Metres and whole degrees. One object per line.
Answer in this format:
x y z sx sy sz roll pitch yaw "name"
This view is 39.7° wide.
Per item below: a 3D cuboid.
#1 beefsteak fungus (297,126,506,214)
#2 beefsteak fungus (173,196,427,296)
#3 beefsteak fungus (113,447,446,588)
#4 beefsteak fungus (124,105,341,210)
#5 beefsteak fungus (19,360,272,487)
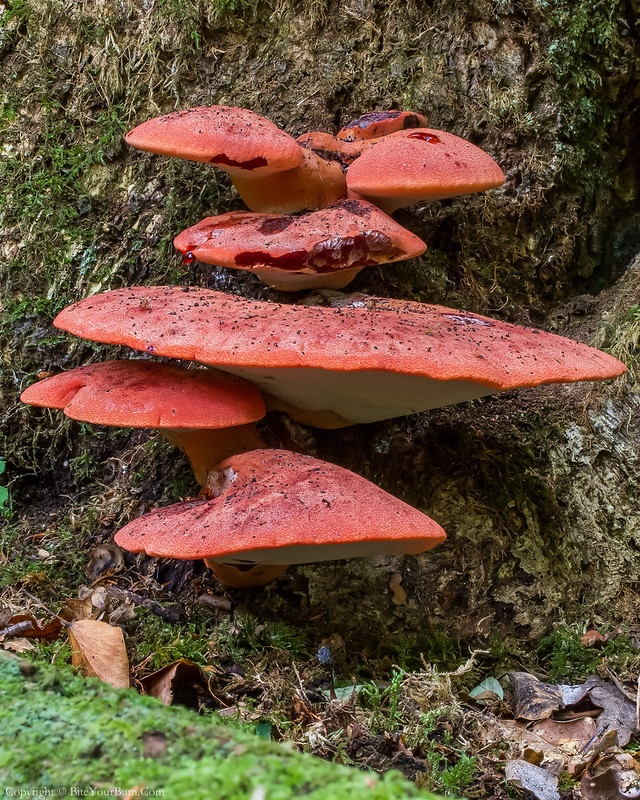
0.428 -1.005 3.789 0.545 0.243 0.444 9 36 18 "beefsteak fungus"
-0.122 -0.656 3.708 0.653 0.206 0.622 6 11 38 "beefsteak fungus"
-0.210 0.379 3.222 1.425 0.380 1.000 4 5 -13 "beefsteak fungus"
-0.356 -1.106 3.903 1.007 0.300 0.706 -5 31 -35 "beefsteak fungus"
-0.614 0.038 3.272 0.701 0.271 0.685 3 5 -45 "beefsteak fungus"
